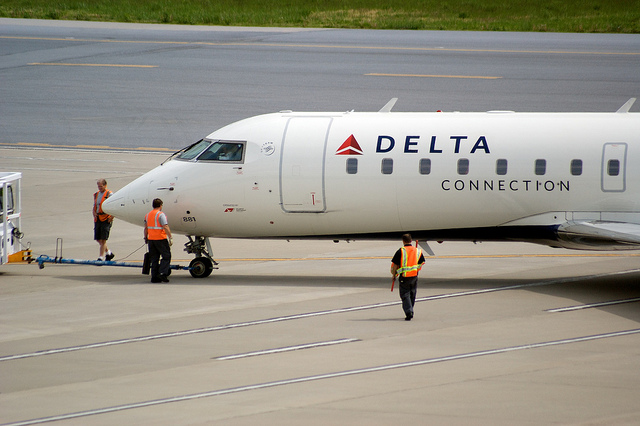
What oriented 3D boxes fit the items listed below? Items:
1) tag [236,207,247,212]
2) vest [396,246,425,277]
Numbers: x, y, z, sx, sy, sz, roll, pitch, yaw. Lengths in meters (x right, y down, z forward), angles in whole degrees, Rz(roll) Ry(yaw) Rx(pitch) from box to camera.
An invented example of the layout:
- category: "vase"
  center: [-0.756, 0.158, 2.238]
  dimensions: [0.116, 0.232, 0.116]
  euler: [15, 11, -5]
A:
- category: "tag"
  center: [-3.101, -0.180, 41.995]
  dimensions: [0.266, 0.198, 0.056]
  euler: [3, 1, 7]
- category: "vest"
  center: [2.951, 1.624, 38.799]
  dimensions: [1.088, 1.111, 0.876]
  euler: [5, 7, 5]
